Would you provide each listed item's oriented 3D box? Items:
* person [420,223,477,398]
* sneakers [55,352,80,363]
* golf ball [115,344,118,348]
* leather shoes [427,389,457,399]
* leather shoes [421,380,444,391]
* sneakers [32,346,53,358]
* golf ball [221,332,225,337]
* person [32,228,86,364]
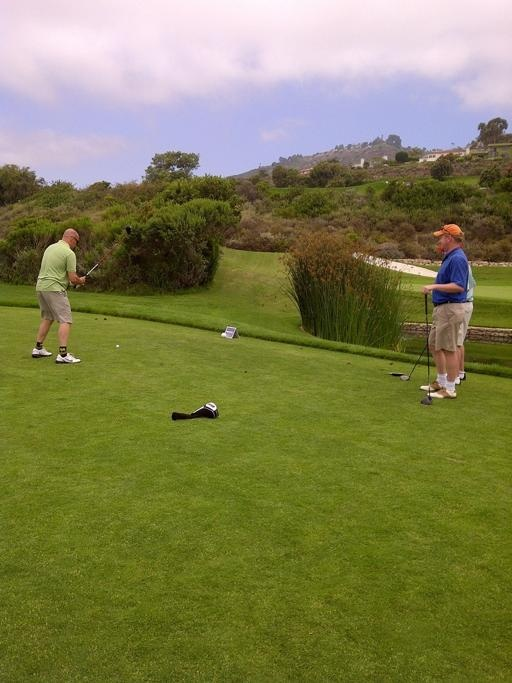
[{"bbox_3d":[2.057,-0.336,6.269,0.441,1.845,0.763,7,9,17],"label":"person"},{"bbox_3d":[-2.136,0.187,6.551,0.243,0.095,0.110,0,8,-24],"label":"sneakers"},{"bbox_3d":[-1.858,0.062,7.727,0.038,0.036,0.047,23,5,18],"label":"golf ball"},{"bbox_3d":[1.980,0.557,6.104,0.371,0.136,0.130,4,-4,-19],"label":"leather shoes"},{"bbox_3d":[1.946,0.515,6.460,0.091,0.083,0.212,-4,-5,44],"label":"leather shoes"},{"bbox_3d":[-2.548,0.130,6.865,0.270,0.112,0.097,-3,11,-41],"label":"sneakers"},{"bbox_3d":[-0.563,-0.105,9.697,0.069,0.067,0.075,0,-6,0],"label":"golf ball"},{"bbox_3d":[-2.419,-0.622,7.115,0.600,1.528,1.681,1,9,-19],"label":"person"}]
